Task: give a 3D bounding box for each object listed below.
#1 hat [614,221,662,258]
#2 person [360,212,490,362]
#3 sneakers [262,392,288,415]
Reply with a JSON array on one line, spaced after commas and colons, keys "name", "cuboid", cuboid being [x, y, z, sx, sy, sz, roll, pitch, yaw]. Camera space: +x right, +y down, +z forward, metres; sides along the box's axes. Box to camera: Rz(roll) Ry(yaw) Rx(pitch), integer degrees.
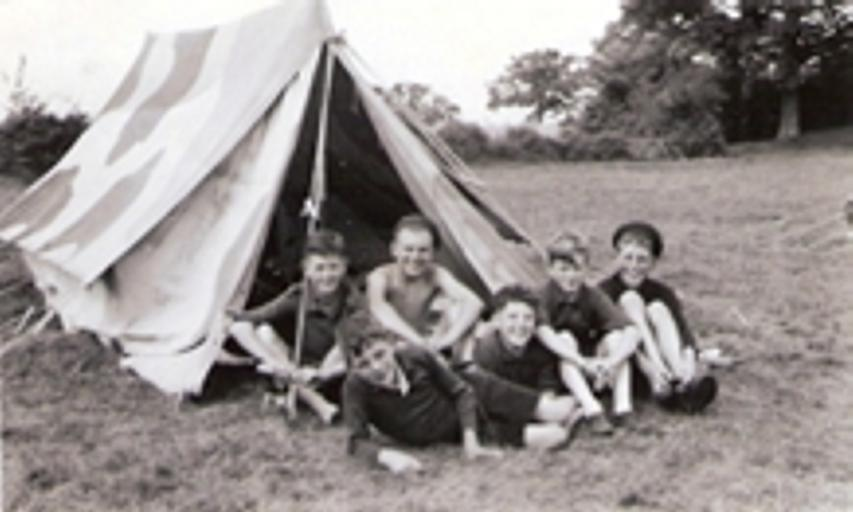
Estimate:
[{"name": "hat", "cuboid": [1.297, -0.103, 5.994, 0.228, 0.231, 0.079, -6, 12, 34]}, {"name": "person", "cuboid": [-0.027, 0.189, 6.002, 0.716, 0.930, 0.738, -12, 21, -38]}, {"name": "sneakers", "cuboid": [-0.886, 0.847, 5.862, 0.176, 0.129, 0.097, 0, -2, 0]}]
